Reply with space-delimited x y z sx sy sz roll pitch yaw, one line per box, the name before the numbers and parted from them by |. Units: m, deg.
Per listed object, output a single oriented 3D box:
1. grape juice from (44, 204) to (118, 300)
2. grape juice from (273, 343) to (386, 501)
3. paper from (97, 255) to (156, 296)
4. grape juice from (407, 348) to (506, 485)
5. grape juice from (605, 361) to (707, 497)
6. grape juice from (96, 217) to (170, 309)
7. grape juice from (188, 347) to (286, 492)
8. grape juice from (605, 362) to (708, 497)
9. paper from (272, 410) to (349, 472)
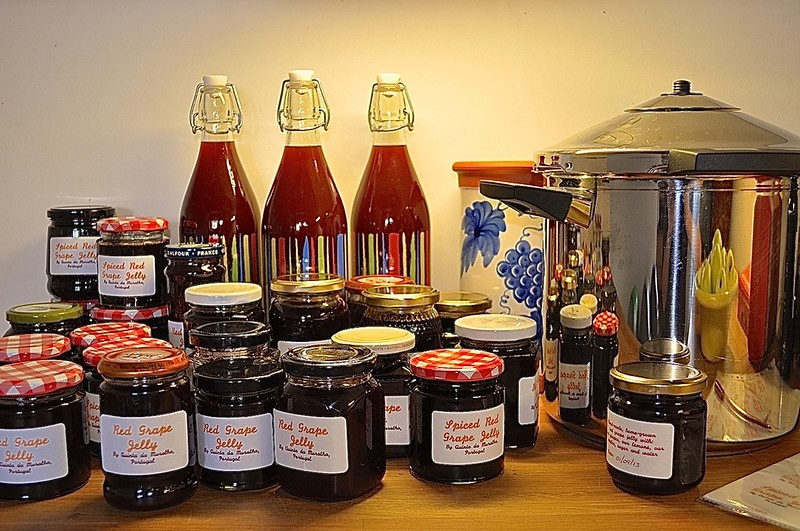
grape juice | -0.575 -0.016 1.323 0.103 0.140 0.106 4 3 44
grape juice | -0.097 0.214 1.064 0.148 0.176 0.150 3 6 40
paper | -0.437 0.013 1.199 0.075 0.050 0.071 0 1 -6
grape juice | 0.086 0.220 1.102 0.140 0.148 0.138 -1 -3 3
grape juice | 0.306 0.219 1.052 0.175 0.175 0.141 -1 4 5
grape juice | -0.438 -0.005 1.257 0.123 0.132 0.126 0 6 -5
grape juice | -0.256 0.239 1.086 0.147 0.146 0.141 -6 -12 15
grape juice | 0.354 0.227 1.067 0.154 0.150 0.122 0 4 -23
paper | -0.112 0.234 1.034 0.123 0.076 0.068 -2 2 27
